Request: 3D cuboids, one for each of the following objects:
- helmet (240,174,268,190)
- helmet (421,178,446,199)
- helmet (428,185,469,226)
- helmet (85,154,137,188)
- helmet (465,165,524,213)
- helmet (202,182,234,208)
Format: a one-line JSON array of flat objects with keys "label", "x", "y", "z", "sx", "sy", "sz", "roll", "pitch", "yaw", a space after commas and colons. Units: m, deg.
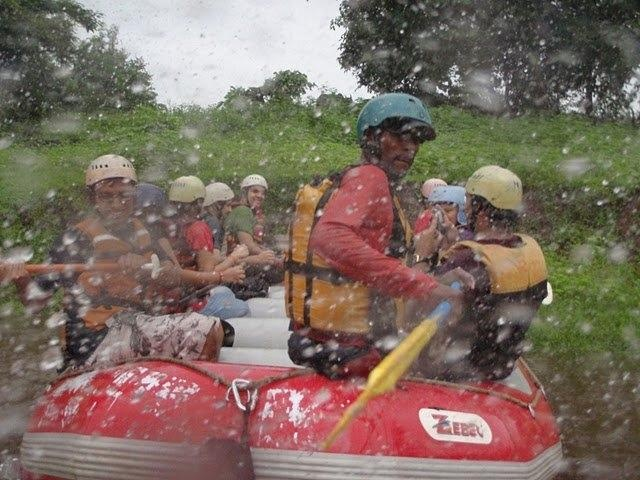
[{"label": "helmet", "x": -1.061, "y": -0.921, "z": 8.792, "sx": 0.423, "sy": 0.289, "sz": 0.344, "roll": -2, "pitch": 6, "yaw": 2}, {"label": "helmet", "x": 1.662, "y": -0.803, "z": 8.199, "sx": 0.376, "sy": 0.272, "sz": 0.584, "roll": 1, "pitch": -2, "yaw": 1}, {"label": "helmet", "x": 1.587, "y": -0.453, "z": 6.842, "sx": 0.447, "sy": 0.401, "sz": 0.394, "roll": -6, "pitch": 10, "yaw": -11}, {"label": "helmet", "x": -2.024, "y": -0.688, "z": 5.330, "sx": 0.456, "sy": 0.352, "sz": 0.612, "roll": -6, "pitch": -4, "yaw": -33}, {"label": "helmet", "x": 1.650, "y": -0.501, "z": 5.087, "sx": 0.372, "sy": 0.426, "sz": 0.472, "roll": -8, "pitch": 35, "yaw": -47}, {"label": "helmet", "x": -1.489, "y": -0.676, "z": 8.070, "sx": 0.360, "sy": 0.351, "sz": 0.282, "roll": 7, "pitch": -7, "yaw": -20}]
